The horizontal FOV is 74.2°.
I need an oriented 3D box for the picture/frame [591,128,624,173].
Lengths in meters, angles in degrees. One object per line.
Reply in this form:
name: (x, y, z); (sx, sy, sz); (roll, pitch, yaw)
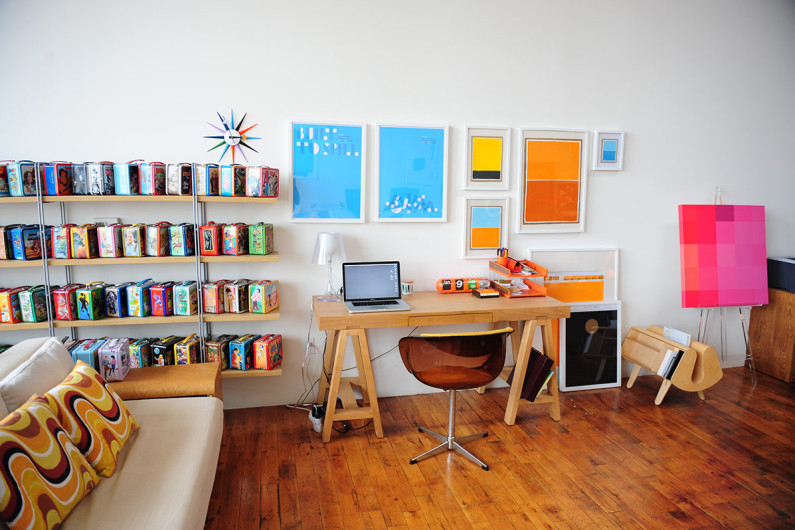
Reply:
picture/frame: (1.941, -1.092, 4.898); (0.419, 0.516, 0.068); (0, 7, -11)

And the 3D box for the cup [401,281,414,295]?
cup: (0.079, 0.193, 4.586); (0.114, 0.085, 0.112); (-1, 2, 0)

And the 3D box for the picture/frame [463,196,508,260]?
picture/frame: (0.781, -0.357, 4.768); (0.597, 0.764, 0.061); (0, 4, -12)

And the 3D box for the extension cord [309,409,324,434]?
extension cord: (-0.645, 1.246, 4.251); (0.108, 0.189, 0.150); (-11, 13, -28)

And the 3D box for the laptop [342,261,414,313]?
laptop: (-0.221, 0.155, 4.350); (0.556, 0.347, 0.397); (-1, 7, -14)

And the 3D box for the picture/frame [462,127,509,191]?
picture/frame: (0.766, -0.976, 4.699); (0.578, 0.731, 0.059); (-1, 5, -14)
